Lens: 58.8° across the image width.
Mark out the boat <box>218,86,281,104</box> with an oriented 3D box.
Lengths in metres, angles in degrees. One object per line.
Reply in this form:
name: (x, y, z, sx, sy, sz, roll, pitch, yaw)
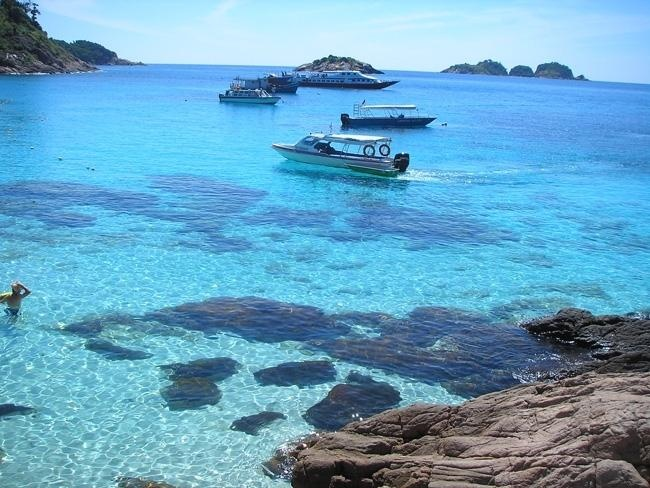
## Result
boat: (-11.672, -22.771, 89.256, 12.160, 1.845, 3.005, 3, 28, 5)
